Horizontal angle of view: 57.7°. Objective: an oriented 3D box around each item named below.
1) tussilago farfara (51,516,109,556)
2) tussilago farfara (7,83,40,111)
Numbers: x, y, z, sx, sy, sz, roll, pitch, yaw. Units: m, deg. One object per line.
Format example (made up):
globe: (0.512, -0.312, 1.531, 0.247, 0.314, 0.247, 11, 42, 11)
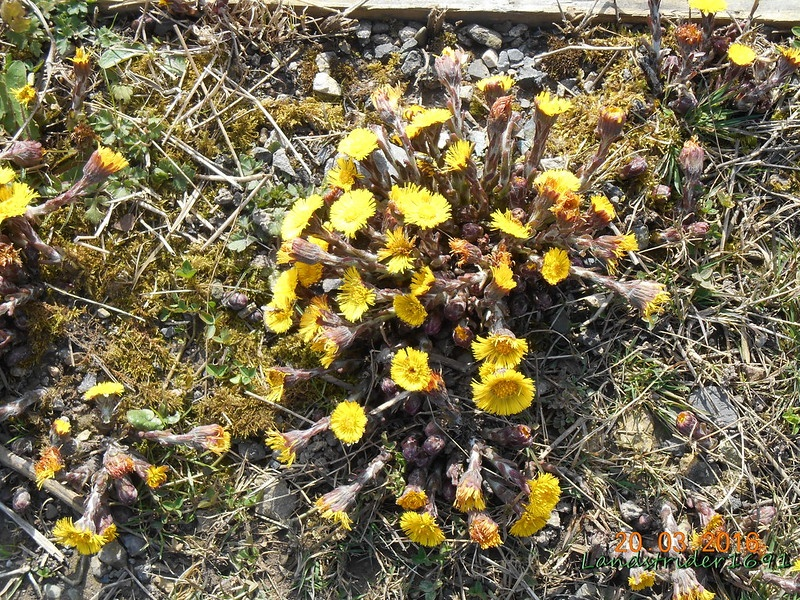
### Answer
tussilago farfara: (-1.300, 0.988, 3.006, 0.205, 0.201, 0.081, 9, 85, 30)
tussilago farfara: (-1.698, -0.936, 3.263, 0.098, 0.095, 0.134, -32, 74, -16)
